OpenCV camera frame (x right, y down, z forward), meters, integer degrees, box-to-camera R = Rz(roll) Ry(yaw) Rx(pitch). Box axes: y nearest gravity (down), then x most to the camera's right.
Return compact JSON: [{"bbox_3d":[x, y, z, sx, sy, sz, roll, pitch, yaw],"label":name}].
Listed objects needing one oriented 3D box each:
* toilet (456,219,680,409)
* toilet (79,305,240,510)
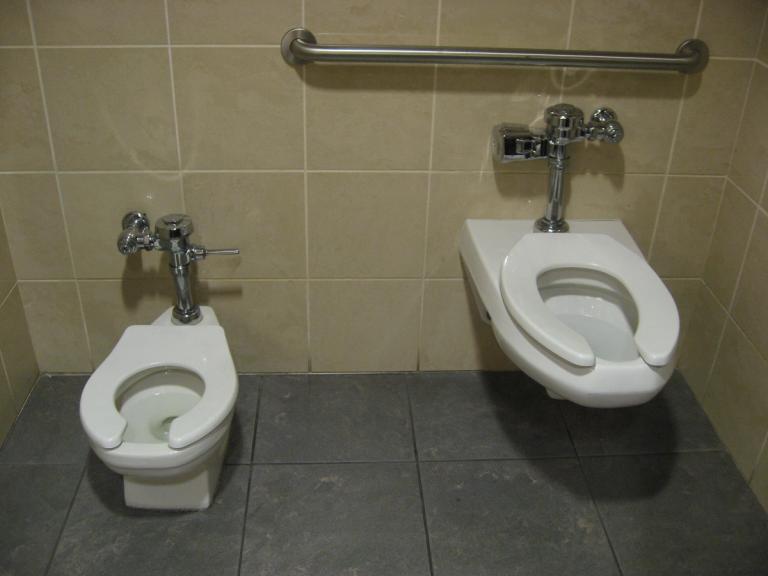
[{"bbox_3d":[0.540,0.086,1.907,0.529,0.340,0.724,-2,36,-8],"label":"toilet"},{"bbox_3d":[-0.623,0.378,1.880,0.366,0.346,0.513,0,33,-8],"label":"toilet"}]
